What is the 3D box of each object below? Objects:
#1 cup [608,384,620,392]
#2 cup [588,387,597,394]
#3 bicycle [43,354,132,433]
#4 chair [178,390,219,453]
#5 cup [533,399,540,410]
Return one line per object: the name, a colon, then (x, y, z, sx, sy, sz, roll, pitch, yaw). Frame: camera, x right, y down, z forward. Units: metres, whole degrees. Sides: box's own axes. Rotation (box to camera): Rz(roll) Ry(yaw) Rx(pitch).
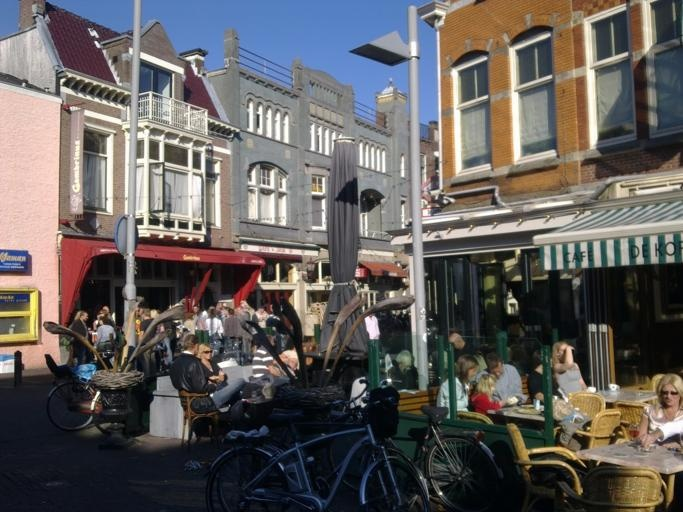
cup: (4.918, 2.372, 16.695, 0.111, 0.149, 0.158, 0, -5, -12)
cup: (4.299, 2.307, 15.924, 0.152, 0.070, 0.153, 3, -2, 0)
bicycle: (-4.927, 2.707, 17.925, 2.035, 1.382, 1.106, 3, -5, 10)
chair: (-2.578, 3.065, 17.108, 0.869, 1.335, 1.015, 0, -3, -13)
cup: (3.195, 2.436, 15.147, 0.111, 0.194, 0.117, -1, -10, 0)
